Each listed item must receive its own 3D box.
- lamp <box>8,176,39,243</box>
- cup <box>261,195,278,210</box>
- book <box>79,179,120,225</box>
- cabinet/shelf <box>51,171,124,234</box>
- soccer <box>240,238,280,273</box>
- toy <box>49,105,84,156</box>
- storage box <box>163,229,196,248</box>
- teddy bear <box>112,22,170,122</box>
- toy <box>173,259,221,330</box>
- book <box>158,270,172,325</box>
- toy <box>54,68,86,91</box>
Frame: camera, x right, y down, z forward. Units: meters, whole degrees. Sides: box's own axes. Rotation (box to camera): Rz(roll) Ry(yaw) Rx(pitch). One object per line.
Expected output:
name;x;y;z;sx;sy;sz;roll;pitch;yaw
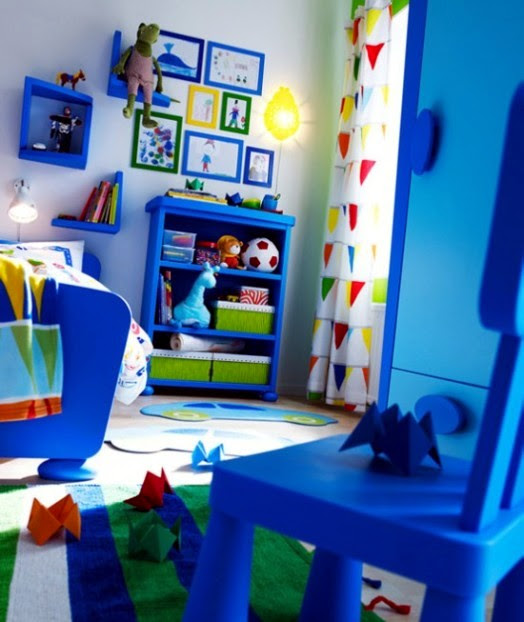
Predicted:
lamp;-1.357;-0.576;2.802;0.156;0.386;0.170;6;-1;-28
cup;0.055;-0.685;3.122;0.080;0.108;0.105;8;13;3
book;-0.970;-0.635;2.931;0.201;0.273;0.151;21;3;32
cabinet/shelf;-1.031;-0.599;3.060;0.337;0.423;0.431;7;-2;-1
soccer;-0.028;-0.350;3.214;0.217;0.258;0.210;-15;8;-7
toy;-1.150;-1.025;2.854;0.163;0.291;0.082;4;-15;-16
storage box;-0.493;-0.426;2.938;0.150;0.066;0.104;2;2;-11
teddy bear;-0.739;-1.439;2.961;0.258;0.639;0.291;5;-1;-7
toy;-0.405;-0.096;2.973;0.248;0.407;0.218;6;-9;17
book;-0.577;-0.078;2.932;0.092;0.313;0.199;5;-1;-12
toy;-1.113;-1.353;2.869;0.155;0.136;0.130;6;-1;-20
